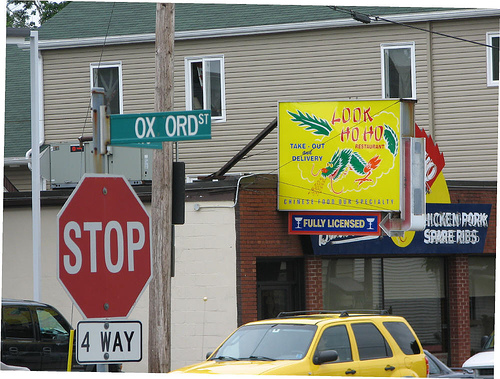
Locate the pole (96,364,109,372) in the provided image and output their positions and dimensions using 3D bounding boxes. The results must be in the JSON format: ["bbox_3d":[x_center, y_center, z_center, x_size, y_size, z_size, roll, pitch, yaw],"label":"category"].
[{"bbox_3d":[-2.928,3.579,29.728,0.161,0.105,0.164,1,-1,13],"label":"pole"}]

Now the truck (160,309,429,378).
[{"bbox_3d":[1.562,3.632,33.744,4.469,1.867,2.428,10,-14,-38],"label":"truck"}]

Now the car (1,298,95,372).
[{"bbox_3d":[-5.039,3.545,35.862,2.569,1.450,1.754,0,-2,-11],"label":"car"}]

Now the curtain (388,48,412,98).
[{"bbox_3d":[4.290,-3.354,42.126,0.819,1.618,0.125,-3,-6,-3],"label":"curtain"}]

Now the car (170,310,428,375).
[{"bbox_3d":[1.493,3.551,33.758,4.037,1.679,2.351,9,-14,-36],"label":"car"}]

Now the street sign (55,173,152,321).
[{"bbox_3d":[-2.922,1.126,29.919,1.904,3.008,0.210,0,-5,-10],"label":"street sign"}]
